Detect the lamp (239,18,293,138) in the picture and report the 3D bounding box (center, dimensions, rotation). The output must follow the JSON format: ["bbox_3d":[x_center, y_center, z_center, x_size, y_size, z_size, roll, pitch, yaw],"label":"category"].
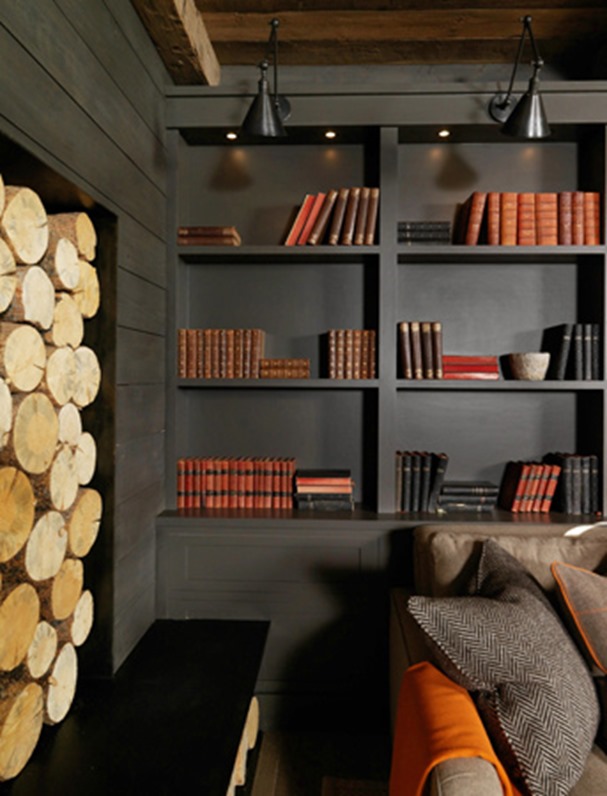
[{"bbox_3d":[-0.127,-1.095,2.384,0.147,0.369,0.118,-8,16,-31],"label":"lamp"}]

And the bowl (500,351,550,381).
[{"bbox_3d":[0.873,-0.117,2.729,0.124,0.085,0.131,-1,-2,0],"label":"bowl"}]
